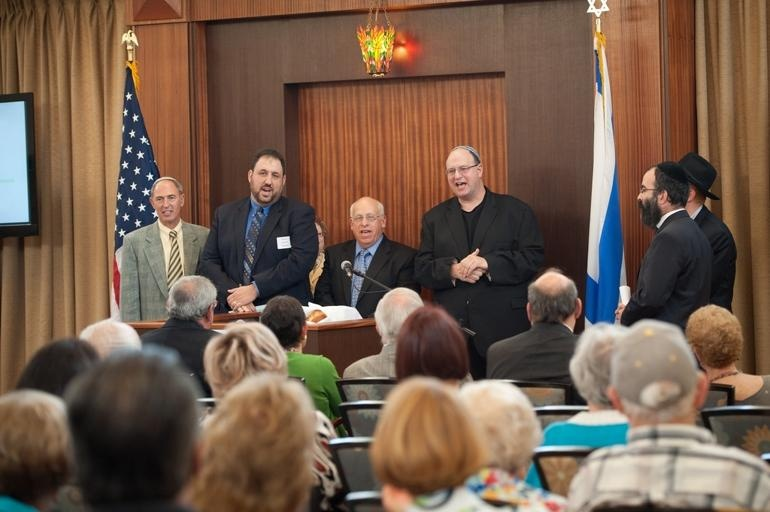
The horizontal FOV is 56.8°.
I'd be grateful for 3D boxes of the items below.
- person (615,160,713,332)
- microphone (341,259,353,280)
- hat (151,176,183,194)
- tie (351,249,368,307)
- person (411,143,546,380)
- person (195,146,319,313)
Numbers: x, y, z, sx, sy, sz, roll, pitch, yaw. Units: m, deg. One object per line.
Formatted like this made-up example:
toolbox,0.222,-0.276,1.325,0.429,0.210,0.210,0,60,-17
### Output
person,1.840,0.296,4.792,0.454,1.720,0.668,4,14,26
microphone,-0.305,0.117,5.565,0.071,0.077,0.282,14,13,-20
hat,-1.729,-0.571,5.637,0.205,0.177,0.203,0,0,-40
tie,-0.221,0.183,6.068,0.090,0.085,0.591,6,44,5
person,0.792,0.389,5.805,0.906,2.511,0.767,1,23,18
person,-0.964,0.285,5.281,0.784,2.019,0.714,1,-2,-2
